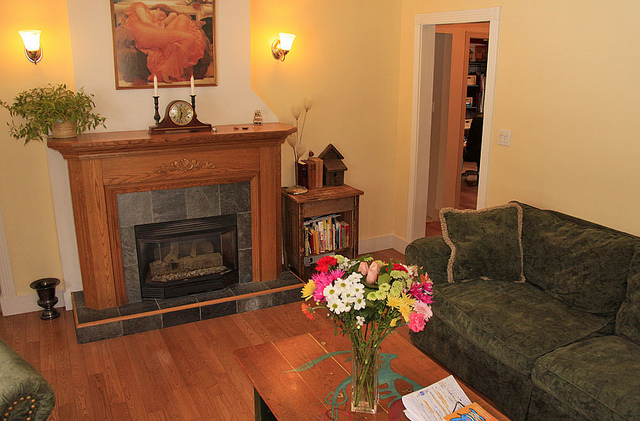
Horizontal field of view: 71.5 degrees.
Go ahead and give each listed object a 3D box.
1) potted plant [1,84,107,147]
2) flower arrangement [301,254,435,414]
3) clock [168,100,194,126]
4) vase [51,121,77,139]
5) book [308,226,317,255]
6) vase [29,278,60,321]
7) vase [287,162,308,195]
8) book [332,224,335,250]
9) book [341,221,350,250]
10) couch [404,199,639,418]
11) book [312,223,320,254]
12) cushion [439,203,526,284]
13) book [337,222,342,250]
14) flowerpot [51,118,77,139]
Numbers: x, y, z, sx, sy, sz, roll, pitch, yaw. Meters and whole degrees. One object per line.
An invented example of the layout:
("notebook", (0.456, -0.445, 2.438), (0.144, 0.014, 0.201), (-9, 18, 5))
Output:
("potted plant", (-2.303, -0.815, 3.904), (0.756, 0.413, 0.600), (8, 19, 11))
("flower arrangement", (0.218, 0.578, 2.566), (0.574, 0.938, 0.623), (0, 16, -23))
("clock", (-1.285, -0.894, 4.069), (0.232, 0.229, 0.076), (4, 11, -35))
("vase", (-2.203, -0.692, 3.805), (0.149, 0.110, 0.147), (-1, 8, -17))
("book", (-0.070, 0.322, 4.816), (0.074, 0.208, 0.161), (-3, 8, 7))
("vase", (-2.671, 0.854, 4.283), (0.306, 0.358, 0.311), (1, 21, -4))
("vase", (-0.270, -0.350, 4.795), (0.313, 0.335, 0.302), (0, 11, -7))
("book", (0.145, 0.285, 4.884), (0.027, 0.267, 0.062), (-3, 15, 5))
("book", (0.284, 0.271, 4.950), (0.066, 0.298, 0.087), (-3, 15, 3))
("couch", (1.644, 0.739, 3.316), (1.224, 1.284, 1.657), (-10, 15, -23))
("book", (-0.035, 0.303, 4.802), (0.061, 0.228, 0.216), (-3, 1, 0))
("cushion", (1.375, 0.278, 3.636), (0.661, 0.648, 0.188), (-4, -8, -1))
("book", (0.221, 0.282, 4.908), (0.049, 0.284, 0.027), (-7, 15, -12))
("flowerpot", (-2.195, -0.708, 3.795), (0.166, 0.131, 0.162), (10, 13, 44))
